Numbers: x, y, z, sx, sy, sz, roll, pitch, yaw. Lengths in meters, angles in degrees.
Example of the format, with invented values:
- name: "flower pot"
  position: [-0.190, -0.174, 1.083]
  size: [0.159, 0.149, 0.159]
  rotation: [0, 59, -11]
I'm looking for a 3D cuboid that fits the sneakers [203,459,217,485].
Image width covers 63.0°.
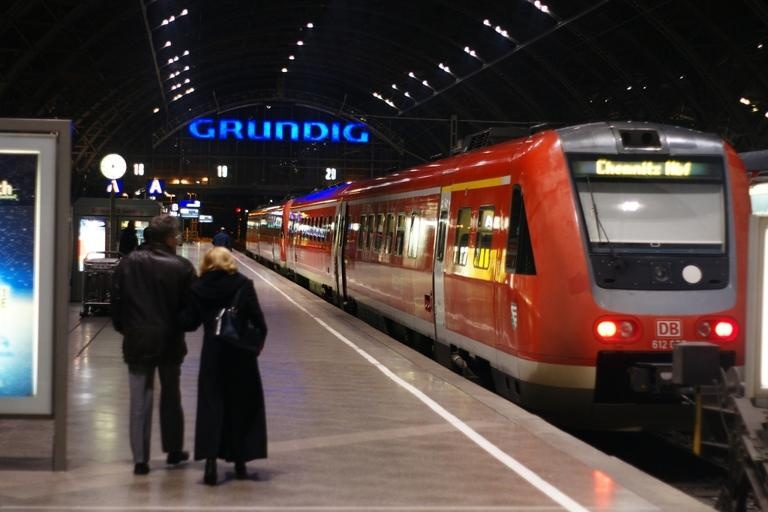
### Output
- name: "sneakers"
  position: [-1.594, 1.977, 5.716]
  size: [0.092, 0.196, 0.276]
  rotation: [2, 1, -5]

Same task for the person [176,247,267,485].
- name: "person"
  position: [-1.468, 0.996, 5.774]
  size: [0.746, 2.230, 0.417]
  rotation: [1, 0, -14]

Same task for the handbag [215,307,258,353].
- name: "handbag"
  position: [-1.344, 0.646, 5.634]
  size: [0.337, 0.233, 0.121]
  rotation: [33, -11, -18]
